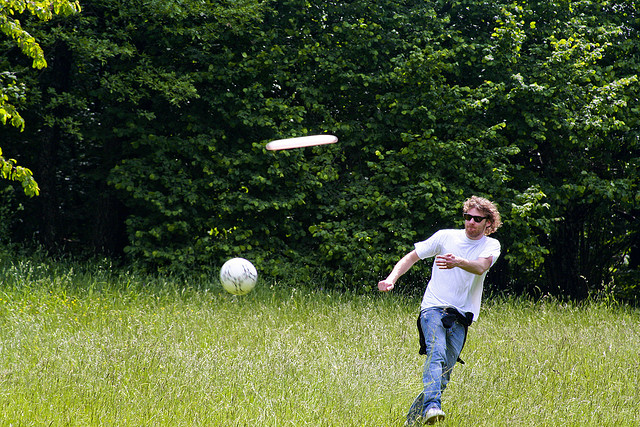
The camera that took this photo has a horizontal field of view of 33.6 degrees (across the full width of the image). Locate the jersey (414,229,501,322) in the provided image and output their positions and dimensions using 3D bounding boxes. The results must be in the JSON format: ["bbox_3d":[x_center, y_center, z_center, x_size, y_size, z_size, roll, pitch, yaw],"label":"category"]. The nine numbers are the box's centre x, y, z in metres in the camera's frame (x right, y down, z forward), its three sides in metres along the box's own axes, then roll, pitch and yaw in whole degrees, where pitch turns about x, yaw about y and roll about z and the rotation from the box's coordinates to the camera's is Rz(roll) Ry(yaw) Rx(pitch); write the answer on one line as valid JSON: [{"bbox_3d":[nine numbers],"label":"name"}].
[{"bbox_3d":[2.473,1.088,19.099,1.424,1.651,0.512,9,1,4],"label":"jersey"}]
